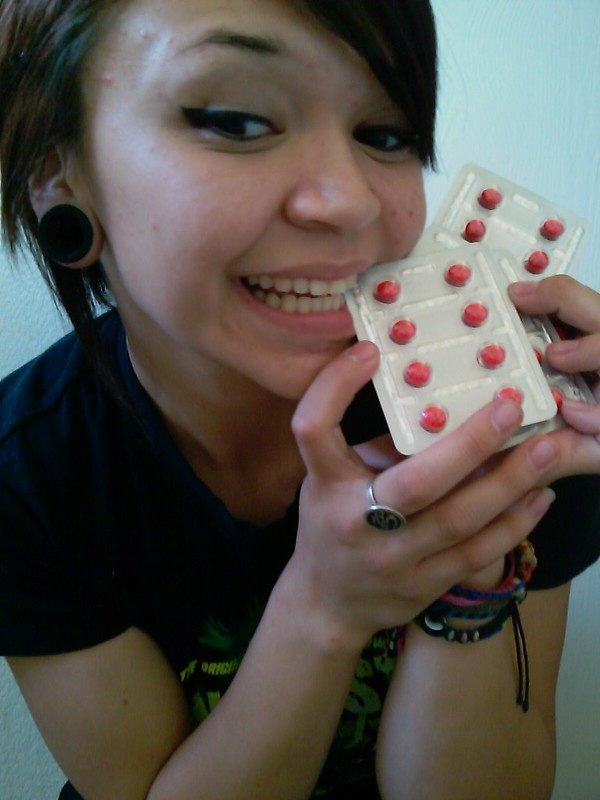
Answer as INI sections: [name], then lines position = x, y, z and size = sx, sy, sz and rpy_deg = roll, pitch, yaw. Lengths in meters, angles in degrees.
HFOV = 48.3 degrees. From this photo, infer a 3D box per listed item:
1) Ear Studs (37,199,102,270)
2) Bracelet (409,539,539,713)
[Ear Studs]
position = -0.258, -0.185, 0.756
size = 0.065, 0.066, 0.017
rpy_deg = -41, 6, 28
[Bracelet]
position = 0.230, 0.316, 0.999
size = 0.190, 0.065, 0.144
rpy_deg = -18, -9, 43
